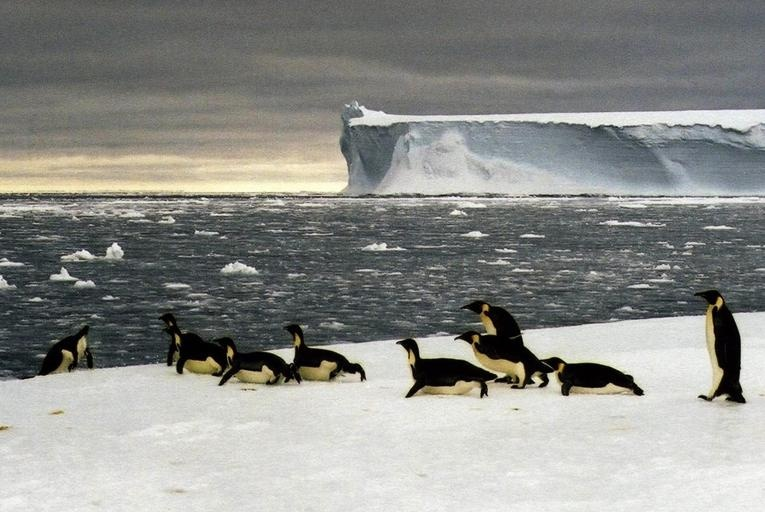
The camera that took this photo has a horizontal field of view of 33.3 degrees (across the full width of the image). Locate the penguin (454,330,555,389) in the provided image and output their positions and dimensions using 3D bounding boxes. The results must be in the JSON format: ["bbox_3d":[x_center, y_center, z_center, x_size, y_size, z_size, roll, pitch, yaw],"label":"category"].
[{"bbox_3d":[1.637,1.386,17.272,1.449,0.637,0.624,3,-7,-7],"label":"penguin"}]

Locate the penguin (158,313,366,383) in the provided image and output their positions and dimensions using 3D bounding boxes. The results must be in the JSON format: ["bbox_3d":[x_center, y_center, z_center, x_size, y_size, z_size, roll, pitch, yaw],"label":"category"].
[{"bbox_3d":[-1.698,1.324,17.680,2.908,0.757,0.917,-1,2,11],"label":"penguin"}]

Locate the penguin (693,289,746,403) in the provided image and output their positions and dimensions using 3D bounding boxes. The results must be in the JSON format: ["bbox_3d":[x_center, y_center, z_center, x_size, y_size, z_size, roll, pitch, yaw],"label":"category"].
[{"bbox_3d":[4.449,1.168,16.772,0.861,1.321,0.877,1,-3,5],"label":"penguin"}]

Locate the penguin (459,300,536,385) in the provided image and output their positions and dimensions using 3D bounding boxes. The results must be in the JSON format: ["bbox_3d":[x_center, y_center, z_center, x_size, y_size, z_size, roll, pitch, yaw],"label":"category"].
[{"bbox_3d":[1.601,0.941,17.755,0.975,0.553,0.511,3,-1,-21],"label":"penguin"}]

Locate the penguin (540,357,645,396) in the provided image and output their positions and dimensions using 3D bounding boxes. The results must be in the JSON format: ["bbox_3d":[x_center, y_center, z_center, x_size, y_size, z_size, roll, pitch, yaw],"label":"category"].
[{"bbox_3d":[2.849,1.604,16.911,1.453,0.408,0.752,5,7,5],"label":"penguin"}]
